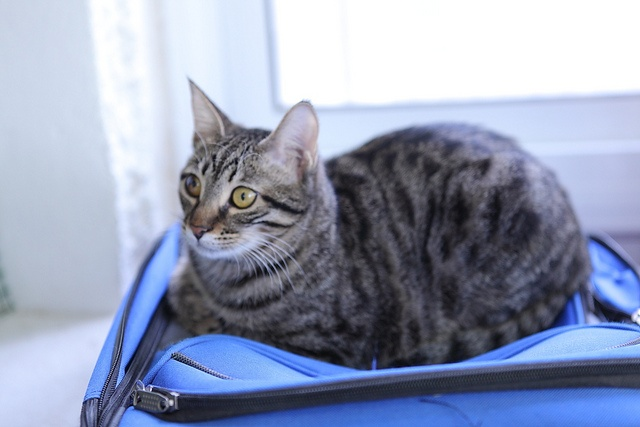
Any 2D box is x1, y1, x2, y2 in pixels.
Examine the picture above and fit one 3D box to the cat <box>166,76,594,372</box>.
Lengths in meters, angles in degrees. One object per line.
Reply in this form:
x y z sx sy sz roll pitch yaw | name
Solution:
0.126 0.052 1.469 0.753 0.566 0.561 -15 10 -27 | cat
